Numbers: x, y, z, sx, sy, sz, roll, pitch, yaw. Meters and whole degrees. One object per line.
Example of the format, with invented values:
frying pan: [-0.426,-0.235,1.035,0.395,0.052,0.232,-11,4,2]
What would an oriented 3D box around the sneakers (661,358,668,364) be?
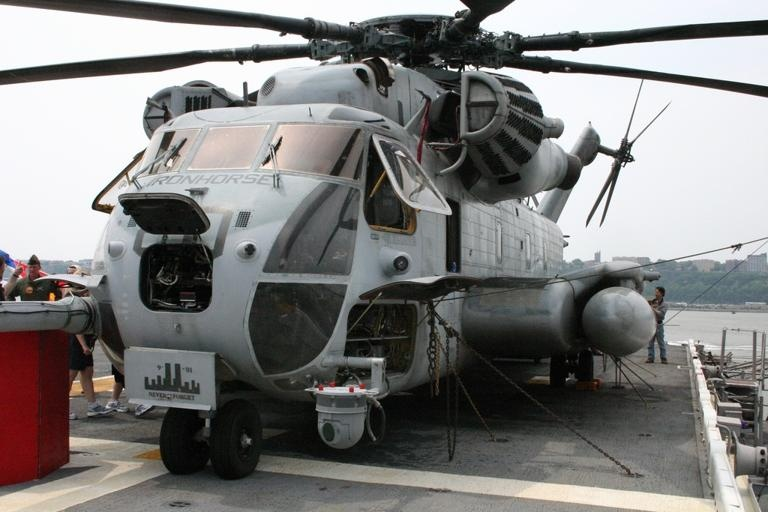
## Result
sneakers: [7.771,2.888,16.754,0.119,0.130,0.338,-5,-11,20]

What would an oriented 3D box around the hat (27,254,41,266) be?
hat: [-5.312,0.081,9.173,0.165,0.137,0.241,1,-7,-11]

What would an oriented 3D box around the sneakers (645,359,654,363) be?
sneakers: [7.269,2.866,16.558,0.104,0.109,0.304,-5,-12,31]

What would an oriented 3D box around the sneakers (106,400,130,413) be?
sneakers: [-4.761,2.655,10.753,0.195,0.201,0.484,12,-6,44]

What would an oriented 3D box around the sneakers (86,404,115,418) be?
sneakers: [-4.893,2.658,10.502,0.484,0.198,0.183,-1,3,-23]
